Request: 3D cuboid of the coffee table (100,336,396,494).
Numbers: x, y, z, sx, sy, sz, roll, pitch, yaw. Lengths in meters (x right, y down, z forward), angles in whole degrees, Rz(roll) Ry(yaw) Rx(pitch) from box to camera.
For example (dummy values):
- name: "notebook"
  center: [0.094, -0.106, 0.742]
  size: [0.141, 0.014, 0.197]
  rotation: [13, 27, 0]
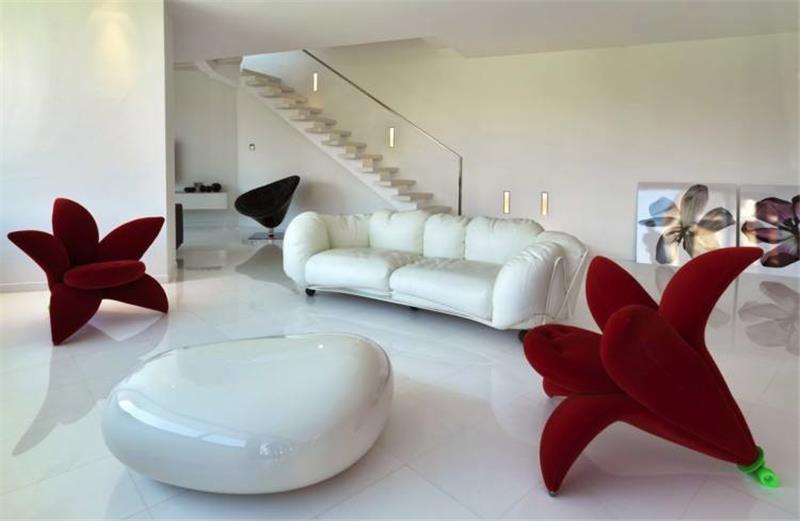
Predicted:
- name: "coffee table"
  center: [-0.841, 0.872, 3.041]
  size: [1.558, 0.655, 0.699]
  rotation: [0, 13, 1]

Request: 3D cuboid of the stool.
- name: "stool"
  center: [-2.324, -0.857, 9.251]
  size: [0.978, 0.964, 0.921]
  rotation: [5, -10, -13]
